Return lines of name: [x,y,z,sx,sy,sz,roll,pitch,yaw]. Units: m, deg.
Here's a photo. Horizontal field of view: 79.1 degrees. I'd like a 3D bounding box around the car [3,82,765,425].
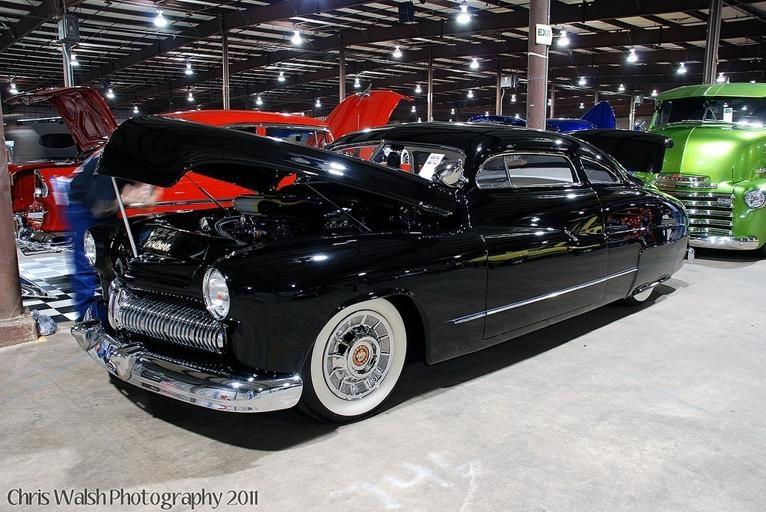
car: [0.240,-0.011,3.951,6.077,1.404,2.246,-8,17,-32]
